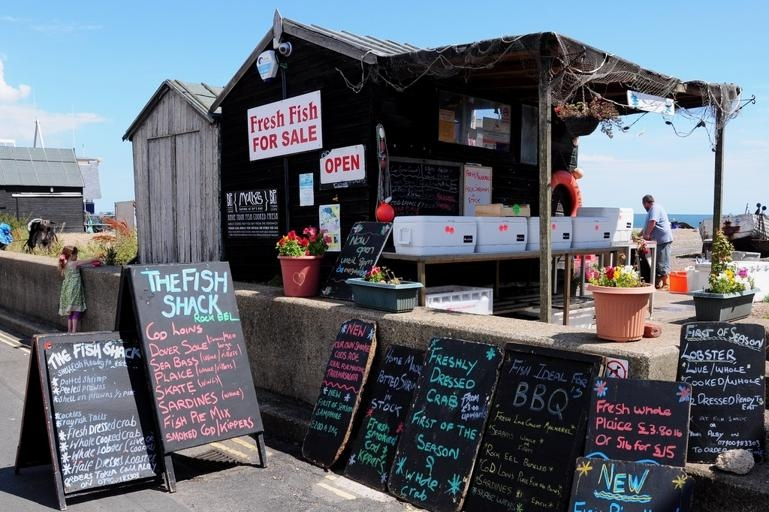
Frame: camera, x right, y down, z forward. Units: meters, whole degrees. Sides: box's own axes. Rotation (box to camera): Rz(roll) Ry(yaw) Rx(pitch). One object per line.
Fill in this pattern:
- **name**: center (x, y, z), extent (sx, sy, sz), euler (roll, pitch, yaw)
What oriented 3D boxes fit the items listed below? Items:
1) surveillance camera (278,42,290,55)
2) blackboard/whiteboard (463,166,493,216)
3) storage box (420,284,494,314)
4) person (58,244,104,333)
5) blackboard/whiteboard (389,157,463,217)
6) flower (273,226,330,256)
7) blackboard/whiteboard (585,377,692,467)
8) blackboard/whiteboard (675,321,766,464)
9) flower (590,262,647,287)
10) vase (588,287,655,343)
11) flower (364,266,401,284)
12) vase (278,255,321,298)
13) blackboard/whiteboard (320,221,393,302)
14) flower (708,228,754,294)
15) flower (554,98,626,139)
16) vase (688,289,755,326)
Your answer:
- **surveillance camera**: center (-1.531, -3.182, 9.547), extent (0.108, 0.207, 0.235), euler (-4, 5, -44)
- **blackboard/whiteboard**: center (1.453, -1.048, 9.990), extent (0.868, 1.172, 0.088), euler (1, -1, -44)
- **storage box**: center (0.843, 0.619, 8.473), extent (1.120, 0.342, 0.622), euler (-3, 5, -34)
- **person**: center (-5.558, 0.581, 11.389), extent (0.685, 1.538, 0.708), euler (2, 4, 33)
- **blackboard/whiteboard**: center (0.639, -1.059, 9.546), extent (1.486, 0.846, 0.143), euler (-4, 5, -42)
- **flower**: center (-1.190, -0.144, 8.382), extent (0.489, 0.286, 0.468), euler (-4, 3, -40)
- **blackboard/whiteboard**: center (2.135, 1.437, 5.275), extent (0.643, 0.600, 0.077), euler (5, -17, 18)
- **blackboard/whiteboard**: center (2.952, 1.189, 5.462), extent (0.720, 1.143, 0.419), euler (0, 4, 9)
- **flower**: center (2.237, 0.191, 6.062), extent (0.500, 0.180, 0.420), euler (1, 4, 22)
- **vase**: center (2.237, 0.525, 5.995), extent (0.521, 0.430, 0.513), euler (1, -1, -38)
- **flower**: center (-0.038, 0.243, 7.236), extent (0.255, 0.109, 0.248), euler (3, 3, 28)
- **vase**: center (-1.077, 0.279, 8.199), extent (0.512, 0.408, 0.524), euler (-3, -4, 34)
- **blackboard/whiteboard**: center (-0.332, 0.074, 7.952), extent (0.058, 1.159, 0.975), euler (36, -16, -37)
- **flower**: center (4.305, 0.081, 7.787), extent (0.491, 0.742, 1.158), euler (2, 4, 30)
- **flower**: center (2.914, -2.054, 9.049), extent (1.096, 0.565, 0.598), euler (-4, 5, -44)
- **vase**: center (4.093, 0.613, 7.631), extent (0.876, 0.385, 0.325), euler (-3, 5, -33)
